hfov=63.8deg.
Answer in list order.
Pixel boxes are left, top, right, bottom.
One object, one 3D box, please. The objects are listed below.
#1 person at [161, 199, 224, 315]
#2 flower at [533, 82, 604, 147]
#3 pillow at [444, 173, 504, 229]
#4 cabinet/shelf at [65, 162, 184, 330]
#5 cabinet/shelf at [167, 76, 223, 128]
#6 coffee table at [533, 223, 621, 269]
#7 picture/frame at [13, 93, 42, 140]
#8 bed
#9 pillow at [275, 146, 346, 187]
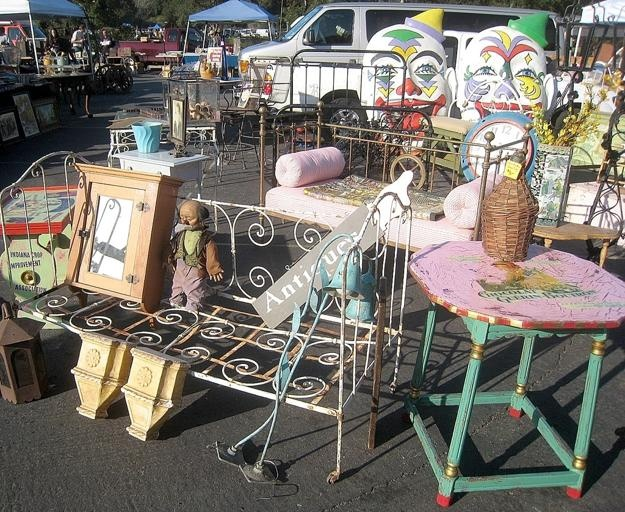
[{"bbox_3d":[-0.895,0.021,3.705,0.531,0.814,0.256,12,12,19],"label":"person"},{"bbox_3d":[2.947,-1.480,5.236,0.563,0.637,0.436,-14,59,-41],"label":"flower"},{"bbox_3d":[1.286,-0.445,4.449,0.397,0.348,0.842,37,33,15],"label":"pillow"},{"bbox_3d":[-1.392,-0.124,3.608,0.744,0.923,0.282,9,1,21],"label":"cabinet/shelf"},{"bbox_3d":[-1.557,-2.136,7.474,0.523,0.674,0.703,-2,-6,1],"label":"cabinet/shelf"},{"bbox_3d":[2.378,-0.266,4.624,0.680,0.328,0.682,-9,23,-13],"label":"coffee table"},{"bbox_3d":[-5.999,-2.901,10.458,0.075,1.054,1.047,-20,22,-5],"label":"picture/frame"},{"bbox_3d":[0.750,-0.736,5.070,2.501,1.117,1.173,16,27,35],"label":"bed"},{"bbox_3d":[-0.022,-1.002,5.645,0.415,0.386,0.857,4,17,42],"label":"pillow"}]
